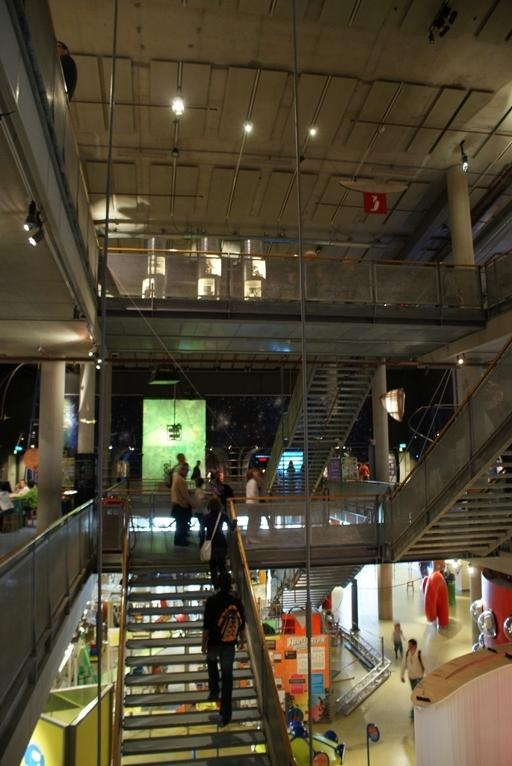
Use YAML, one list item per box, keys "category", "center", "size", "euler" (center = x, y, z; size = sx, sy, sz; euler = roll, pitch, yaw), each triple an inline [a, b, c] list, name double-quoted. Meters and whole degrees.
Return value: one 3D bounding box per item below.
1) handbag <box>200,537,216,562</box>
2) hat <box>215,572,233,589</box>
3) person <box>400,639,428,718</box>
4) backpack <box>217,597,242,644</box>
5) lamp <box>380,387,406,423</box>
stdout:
- category: "handbag"
  center: [-0.565, 1.931, 7.040]
  size: [0.107, 0.242, 0.217]
  euler: [-5, -5, -21]
- category: "hat"
  center: [-0.277, 1.791, 5.446]
  size: [0.103, 0.200, 0.227]
  euler: [-6, -5, -12]
- category: "person"
  center: [2.537, 4.736, 9.790]
  size: [0.400, 1.295, 0.274]
  euler: [-4, 7, 16]
- category: "backpack"
  center: [-0.223, 2.105, 5.327]
  size: [0.226, 0.348, 0.121]
  euler: [-6, -5, -14]
- category: "lamp"
  center: [2.157, 0.357, 9.599]
  size: [0.312, 0.356, 0.768]
  euler: [-8, -5, 9]
